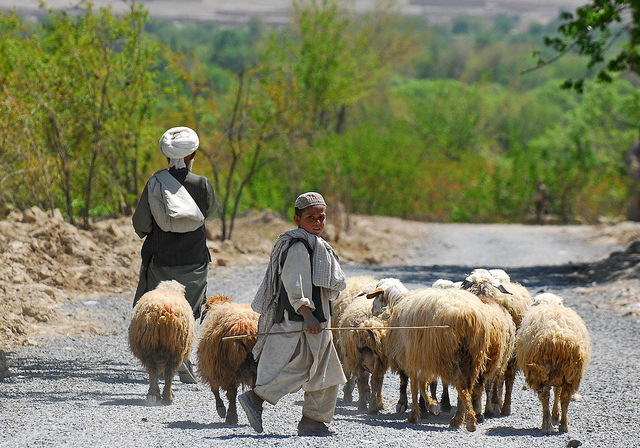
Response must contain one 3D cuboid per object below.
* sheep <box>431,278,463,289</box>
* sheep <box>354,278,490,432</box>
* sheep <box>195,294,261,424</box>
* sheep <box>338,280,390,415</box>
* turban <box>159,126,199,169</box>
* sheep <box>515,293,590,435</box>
[{"bbox_3d":[1.939,0.914,19.383,0.270,0.147,0.228,-3,4,-2],"label":"sheep"},{"bbox_3d":[1.617,1.925,18.646,1.714,1.940,0.801,9,16,26],"label":"sheep"},{"bbox_3d":[-1.361,2.025,18.448,0.883,1.619,0.578,1,14,-3],"label":"sheep"},{"bbox_3d":[0.700,1.914,18.987,0.724,1.757,1.041,-1,5,-3],"label":"sheep"},{"bbox_3d":[-2.181,-1.161,19.344,0.576,0.587,0.286,-1,14,-9],"label":"turban"},{"bbox_3d":[3.429,2.048,18.836,0.943,1.941,1.343,2,6,5],"label":"sheep"}]
